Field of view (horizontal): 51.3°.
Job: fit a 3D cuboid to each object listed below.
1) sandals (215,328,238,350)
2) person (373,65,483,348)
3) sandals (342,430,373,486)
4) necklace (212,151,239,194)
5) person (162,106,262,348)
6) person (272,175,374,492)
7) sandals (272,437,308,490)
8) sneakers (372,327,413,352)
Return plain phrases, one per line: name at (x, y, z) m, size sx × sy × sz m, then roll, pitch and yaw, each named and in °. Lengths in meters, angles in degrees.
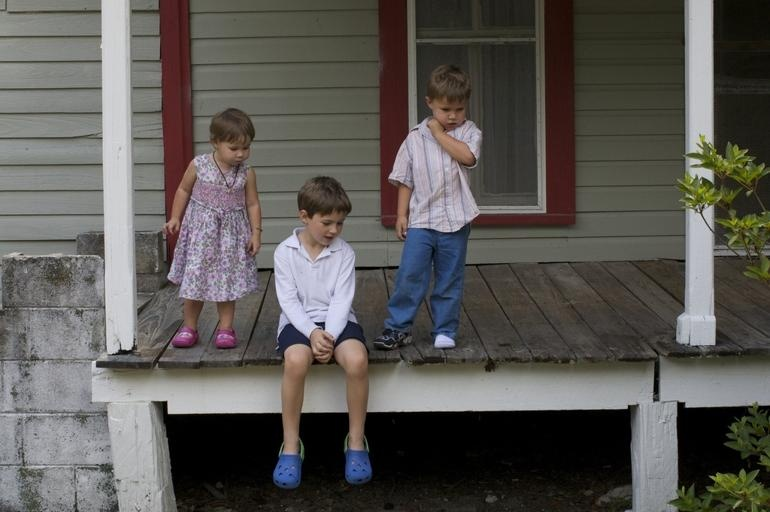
sandals at (-1.047, 0.538, 5.272) m, size 0.143 × 0.123 × 0.185 m, roll -1°, pitch 6°, yaw -11°
person at (0.296, -0.327, 5.232) m, size 0.639 × 1.840 × 0.377 m, roll 0°, pitch 5°, yaw 6°
sandals at (-0.175, 1.240, 4.950) m, size 0.147 × 0.109 × 0.395 m, roll 4°, pitch 32°, yaw -10°
necklace at (-1.033, -0.560, 5.286) m, size 0.145 × 0.253 × 0.067 m, roll 1°, pitch -2°, yaw 6°
person at (-1.132, -0.186, 5.273) m, size 0.606 × 1.561 × 0.336 m, roll -1°, pitch 5°, yaw -9°
person at (-0.397, 0.445, 4.987) m, size 0.577 × 1.873 × 0.515 m, roll -1°, pitch 5°, yaw -4°
sandals at (-0.583, 1.274, 4.930) m, size 0.156 × 0.136 × 0.427 m, roll 6°, pitch 26°, yaw 3°
sneakers at (0.051, 0.549, 5.192) m, size 0.265 × 0.121 × 0.109 m, roll 0°, pitch 0°, yaw -34°
